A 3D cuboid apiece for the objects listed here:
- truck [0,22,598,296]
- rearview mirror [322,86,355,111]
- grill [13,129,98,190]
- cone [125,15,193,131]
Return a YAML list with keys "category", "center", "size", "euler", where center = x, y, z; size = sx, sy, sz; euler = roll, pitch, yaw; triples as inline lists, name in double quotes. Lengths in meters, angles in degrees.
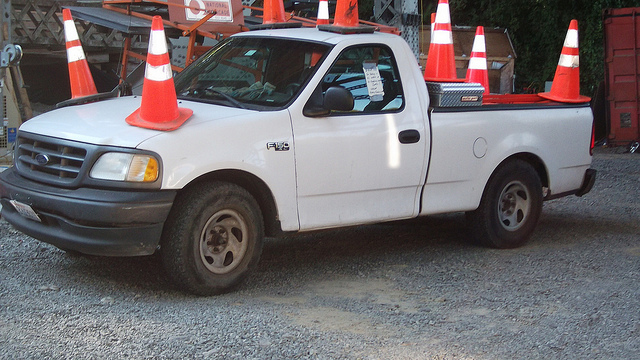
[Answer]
- category: "truck"
  center: [0.348, -0.268, 6.287]
  size: [6.992, 2.362, 3.354]
  euler: [0, 5, -32]
- category: "rearview mirror"
  center: [0.203, -0.888, 5.187]
  size: [0.455, 0.295, 0.244]
  euler: [2, 11, 5]
- category: "grill"
  center: [-2.848, -0.212, 4.910]
  size: [1.368, 0.483, 0.246]
  euler: [8, 20, 28]
- category: "cone"
  center: [-1.729, -0.962, 5.051]
  size: [0.581, 1.373, 0.668]
  euler: [1, 2, -12]
